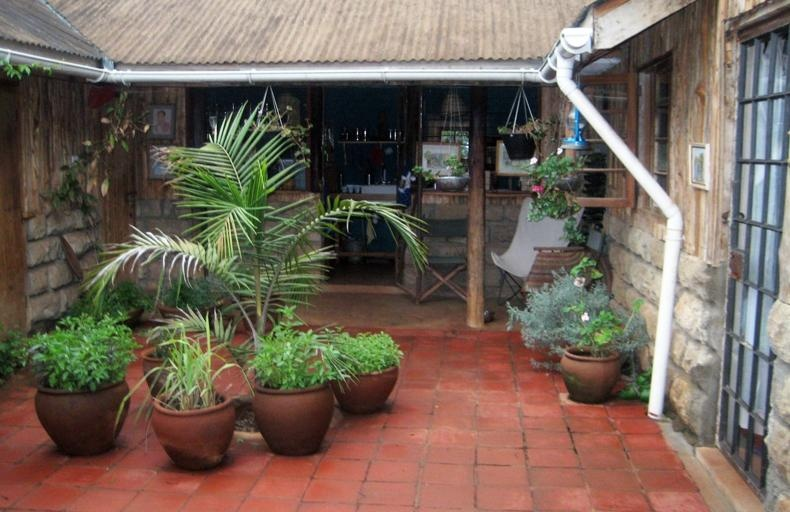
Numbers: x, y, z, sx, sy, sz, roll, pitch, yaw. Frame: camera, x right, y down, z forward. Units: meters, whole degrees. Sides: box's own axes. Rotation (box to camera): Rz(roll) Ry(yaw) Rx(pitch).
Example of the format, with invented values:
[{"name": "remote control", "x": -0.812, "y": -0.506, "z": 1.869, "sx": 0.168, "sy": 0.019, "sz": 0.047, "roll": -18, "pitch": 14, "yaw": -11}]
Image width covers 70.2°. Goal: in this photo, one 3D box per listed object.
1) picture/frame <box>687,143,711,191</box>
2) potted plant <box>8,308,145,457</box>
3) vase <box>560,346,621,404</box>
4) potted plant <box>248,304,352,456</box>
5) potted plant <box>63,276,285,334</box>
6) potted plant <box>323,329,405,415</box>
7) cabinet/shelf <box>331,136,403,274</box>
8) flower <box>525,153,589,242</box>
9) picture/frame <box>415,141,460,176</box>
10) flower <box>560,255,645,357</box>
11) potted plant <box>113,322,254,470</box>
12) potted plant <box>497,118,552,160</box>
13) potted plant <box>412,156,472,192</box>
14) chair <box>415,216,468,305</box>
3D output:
[{"name": "picture/frame", "x": 2.369, "y": -0.716, "z": 4.393, "sx": 0.031, "sy": 0.354, "sz": 0.399, "roll": 3, "pitch": 7, "yaw": 45}, {"name": "potted plant", "x": -2.455, "y": 1.072, "z": 4.518, "sx": 0.573, "sy": 0.808, "sz": 0.710, "roll": 3, "pitch": -5, "yaw": -15}, {"name": "vase", "x": 1.872, "y": 1.159, "z": 5.421, "sx": 0.574, "sy": 0.460, "sz": 0.590, "roll": 3, "pitch": 4, "yaw": 27}, {"name": "potted plant", "x": -0.832, "y": 1.039, "z": 4.514, "sx": 0.865, "sy": 1.147, "sz": 0.851, "roll": 2, "pitch": 6, "yaw": 37}, {"name": "potted plant", "x": -3.020, "y": 0.573, "z": 7.070, "sx": 1.878, "sy": 0.619, "sz": 1.212, "roll": -2, "pitch": -1, "yaw": -10}, {"name": "potted plant", "x": -0.239, "y": 1.122, "z": 5.120, "sx": 0.528, "sy": 0.511, "sz": 0.522, "roll": -1, "pitch": 5, "yaw": -37}, {"name": "cabinet/shelf", "x": -0.608, "y": -1.056, "z": 10.717, "sx": 1.344, "sy": 2.436, "sz": 1.601, "roll": 0, "pitch": 12, "yaw": 0}, {"name": "flower", "x": 1.791, "y": -0.639, "z": 6.185, "sx": 0.677, "sy": 0.860, "sz": 0.560, "roll": -3, "pitch": 13, "yaw": -16}, {"name": "picture/frame", "x": 0.646, "y": -1.478, "z": 8.520, "sx": 0.623, "sy": 0.567, "sz": 0.071, "roll": 1, "pitch": 12, "yaw": 3}, {"name": "flower", "x": 2.115, "y": 0.549, "z": 5.807, "sx": 0.913, "sy": 0.716, "sz": 0.832, "roll": 10, "pitch": -15, "yaw": -15}, {"name": "potted plant", "x": -1.649, "y": 1.102, "z": 4.360, "sx": 0.777, "sy": 1.008, "sz": 0.957, "roll": -1, "pitch": 3, "yaw": -10}, {"name": "potted plant", "x": 1.489, "y": -1.393, "z": 6.814, "sx": 0.497, "sy": 0.396, "sz": 0.450, "roll": -8, "pitch": -1, "yaw": 12}, {"name": "potted plant", "x": 0.682, "y": -1.209, "z": 8.377, "sx": 0.748, "sy": 0.367, "sz": 0.587, "roll": -11, "pitch": 17, "yaw": -23}, {"name": "chair", "x": 0.740, "y": 0.053, "z": 8.401, "sx": 0.893, "sy": 1.351, "sz": 1.005, "roll": 2, "pitch": 1, "yaw": 23}]
